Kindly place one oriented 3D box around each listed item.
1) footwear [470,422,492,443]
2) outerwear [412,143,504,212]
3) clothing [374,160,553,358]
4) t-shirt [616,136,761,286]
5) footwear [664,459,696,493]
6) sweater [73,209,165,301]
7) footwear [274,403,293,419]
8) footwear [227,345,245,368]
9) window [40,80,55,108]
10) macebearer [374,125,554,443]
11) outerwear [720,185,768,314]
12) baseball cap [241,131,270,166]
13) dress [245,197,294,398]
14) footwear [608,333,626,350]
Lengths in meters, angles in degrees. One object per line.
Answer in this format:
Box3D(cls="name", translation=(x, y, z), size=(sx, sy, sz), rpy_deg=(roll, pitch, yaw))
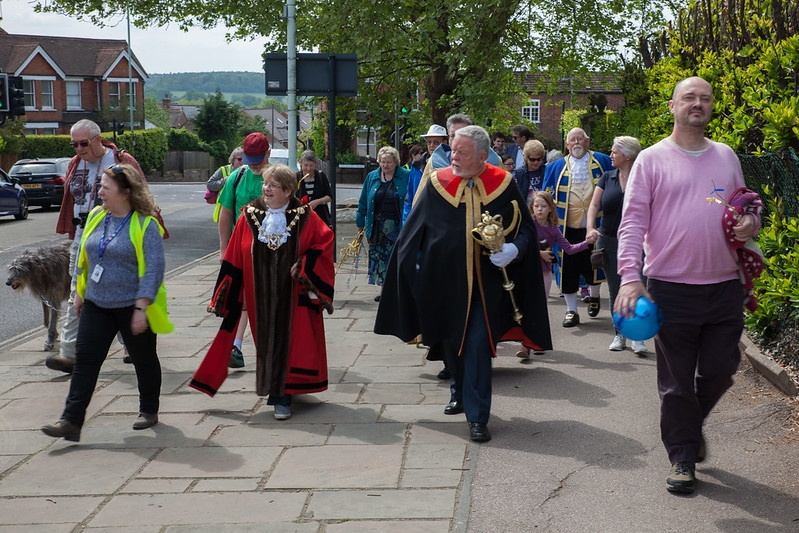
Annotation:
Box3D(cls="footwear", translation=(0.652, 1.313, 6.572), size=(0.163, 0.126, 0.167), rpy_deg=(0, 12, 4))
Box3D(cls="outerwear", translation=(0.518, -0.758, 7.138), size=(1.136, 0.752, 0.557), rpy_deg=(0, 3, -1))
Box3D(cls="clothing", translation=(0.472, 0.001, 6.922), size=(1.777, 1.408, 0.577), rpy_deg=(-2, 2, -18))
Box3D(cls="t-shirt", translation=(1.982, -0.375, 5.788), size=(1.219, 0.898, 0.555), rpy_deg=(-7, 13, -22))
Box3D(cls="footwear", translation=(1.922, 1.452, 5.624), size=(0.121, 0.123, 0.308), rpy_deg=(0, -4, 20))
Box3D(cls="sweater", translation=(-2.346, -0.085, 6.934), size=(0.714, 0.777, 0.430), rpy_deg=(-4, -27, -10))
Box3D(cls="footwear", translation=(-1.003, 1.249, 7.080), size=(0.122, 0.112, 0.121), rpy_deg=(-2, 13, -1))
Box3D(cls="footwear", translation=(-1.637, 0.919, 8.410), size=(0.150, 0.147, 0.394), rpy_deg=(0, 9, -6))
Box3D(cls="window", translation=(-23.863, -11.716, 56.103), size=(0.274, 1.877, 0.929), rpy_deg=(8, 16, 35))
Box3D(cls="macebearer", translation=(0.577, 0.048, 6.981), size=(0.952, 2.447, 1.187), rpy_deg=(-13, 17, -38))
Box3D(cls="outerwear", translation=(2.314, -0.173, 5.588), size=(0.249, 0.713, 0.186), rpy_deg=(-5, 14, -13))
Box3D(cls="baseball cap", translation=(-1.466, -1.212, 8.409), size=(0.287, 0.352, 0.206), rpy_deg=(4, -36, -2))
Box3D(cls="dress", translation=(-1.071, 0.308, 7.201), size=(0.419, 1.680, 0.629), rpy_deg=(-4, 14, -7))
Box3D(cls="footwear", translation=(2.355, 0.820, 8.957), size=(0.165, 0.163, 0.439), rpy_deg=(2, 0, 27))
